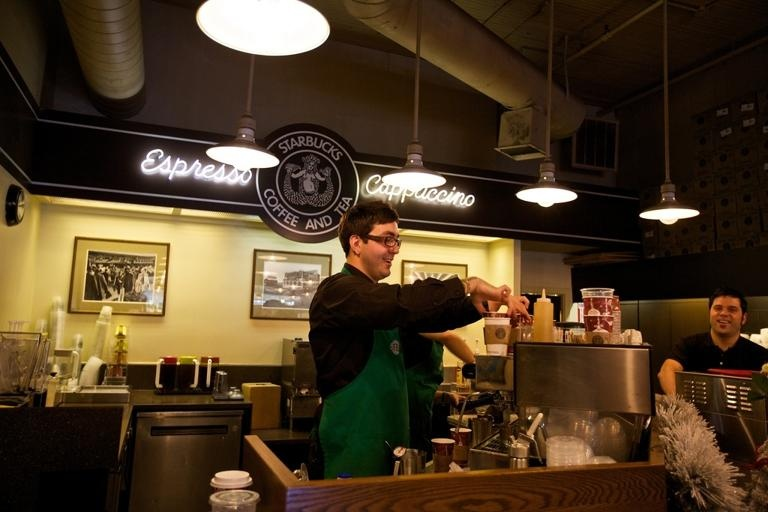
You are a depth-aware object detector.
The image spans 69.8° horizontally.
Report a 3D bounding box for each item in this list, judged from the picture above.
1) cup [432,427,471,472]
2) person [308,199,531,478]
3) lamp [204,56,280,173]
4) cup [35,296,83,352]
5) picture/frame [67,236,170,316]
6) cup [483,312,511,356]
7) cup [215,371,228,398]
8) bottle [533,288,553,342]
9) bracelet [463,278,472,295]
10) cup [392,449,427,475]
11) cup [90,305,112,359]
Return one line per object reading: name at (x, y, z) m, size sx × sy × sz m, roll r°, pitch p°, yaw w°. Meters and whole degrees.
cup at (0.328, 0.948, 2.687) m, size 0.199 × 0.156 × 0.188 m, roll 1°, pitch -4°, yaw 0°
person at (0.149, 0.759, 2.957) m, size 1.026 × 1.956 × 0.815 m, roll 1°, pitch 2°, yaw 14°
lamp at (-0.983, -1.100, 3.946) m, size 0.452 × 0.840 × 0.455 m, roll 6°, pitch -4°, yaw -13°
cup at (-3.069, 0.627, 5.154) m, size 0.409 × 0.533 × 0.468 m, roll 5°, pitch -9°, yaw -30°
picture/frame at (-2.742, 0.223, 5.508) m, size 0.780 × 0.687 × 0.058 m, roll 1°, pitch -5°, yaw -17°
cup at (0.509, 0.354, 2.490) m, size 0.110 × 0.195 × 0.076 m, roll -1°, pitch -8°, yaw 12°
cup at (-1.603, 1.242, 5.308) m, size 0.133 × 0.229 × 0.278 m, roll 3°, pitch -8°, yaw -17°
bottle at (0.736, 0.278, 2.572) m, size 0.089 × 0.244 × 0.198 m, roll -1°, pitch -8°, yaw 15°
bracelet at (0.384, 0.141, 2.531) m, size 0.051 × 0.072 × 0.021 m, roll -6°, pitch -8°, yaw 36°
cup at (0.104, 0.868, 2.358) m, size 0.120 × 0.119 × 0.115 m, roll 2°, pitch -12°, yaw 0°
cup at (-2.788, 0.748, 5.377) m, size 0.153 × 0.521 × 0.167 m, roll 1°, pitch -8°, yaw 0°
